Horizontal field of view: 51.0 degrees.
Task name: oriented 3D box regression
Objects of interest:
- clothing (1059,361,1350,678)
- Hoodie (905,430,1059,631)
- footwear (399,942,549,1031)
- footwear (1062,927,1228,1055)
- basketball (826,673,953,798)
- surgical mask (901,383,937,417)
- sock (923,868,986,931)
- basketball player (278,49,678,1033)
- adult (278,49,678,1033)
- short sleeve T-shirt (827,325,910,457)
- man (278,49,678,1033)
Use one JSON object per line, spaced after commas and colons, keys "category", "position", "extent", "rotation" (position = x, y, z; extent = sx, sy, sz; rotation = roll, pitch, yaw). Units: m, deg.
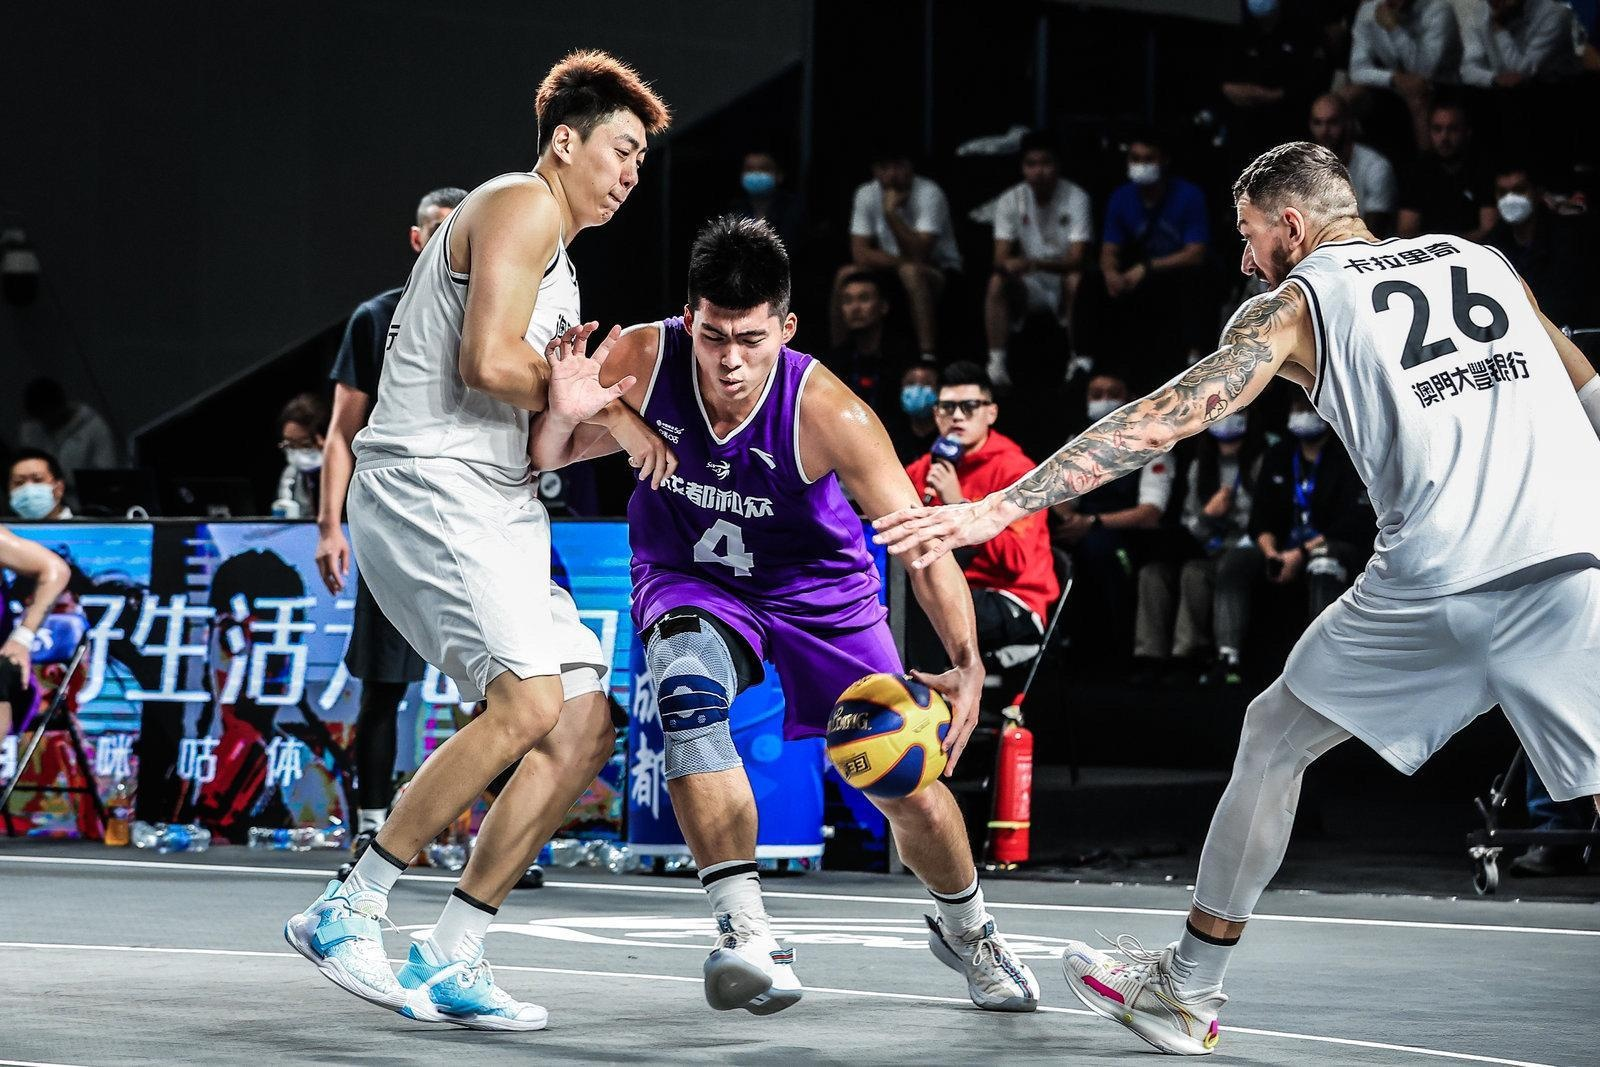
{"category": "clothing", "position": [2.120, 0.036, 8.759], "extent": [0.821, 1.249, 2.036], "rotation": [-15, 25, 18]}
{"category": "Hoodie", "position": [1.003, -0.006, 8.885], "extent": [0.688, 1.052, 0.850], "rotation": [-27, 19, -28]}
{"category": "footwear", "position": [-0.986, 1.371, 5.139], "extent": [0.542, 0.282, 0.196], "rotation": [8, -7, -8]}
{"category": "footwear", "position": [1.026, 1.358, 5.083], "extent": [0.543, 0.273, 0.180], "rotation": [25, 6, 40]}
{"category": "basketball", "position": [0.278, 0.561, 5.166], "extent": [0.332, 0.371, 0.416], "rotation": [13, 10, 38]}
{"category": "surgical mask", "position": [0.736, -0.830, 10.412], "extent": [0.191, 0.159, 0.196], "rotation": [3, -10, 13]}
{"category": "sock", "position": [0.499, 1.179, 5.426], "extent": [0.179, 0.145, 0.162], "rotation": [2, 7, -6]}
{"category": "basketball player", "position": [-0.910, -0.059, 5.418], "extent": [1.122, 2.966, 0.993], "rotation": [1, -7, -12]}
{"category": "adult", "position": [-1.010, 0.190, 5.151], "extent": [0.817, 2.574, 0.431], "rotation": [1, -3, 4]}
{"category": "short sleeve T-shirt", "position": [0.506, -0.964, 10.893], "extent": [0.622, 0.836, 0.321], "rotation": [-4, -17, -6]}
{"category": "man", "position": [-1.016, -0.055, 5.432], "extent": [1.226, 3.051, 1.012], "rotation": [5, -11, -28]}
